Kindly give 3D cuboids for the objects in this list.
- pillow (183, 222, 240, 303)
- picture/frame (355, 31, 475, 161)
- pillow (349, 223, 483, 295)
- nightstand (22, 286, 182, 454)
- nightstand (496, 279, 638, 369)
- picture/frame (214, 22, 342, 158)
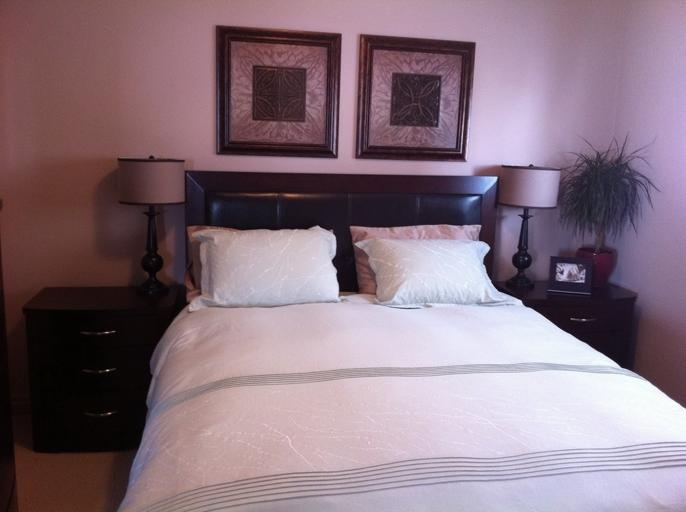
[{"bbox_3d":[-0.745,0.044,3.092,0.400,0.470,0.153,-5,-1,1],"label":"pillow"},{"bbox_3d":[0.441,-1.087,3.586,0.749,0.887,0.055,-1,10,-14],"label":"picture/frame"},{"bbox_3d":[0.428,-0.005,3.473,0.679,0.473,0.192,-8,-8,-24],"label":"pillow"},{"bbox_3d":[-1.431,0.675,3.258,0.761,0.833,0.553,0,11,-19],"label":"nightstand"},{"bbox_3d":[1.580,0.639,3.863,0.764,0.832,0.556,-1,13,-8],"label":"nightstand"},{"bbox_3d":[-0.441,-1.071,3.413,0.748,0.850,0.060,1,9,-12],"label":"picture/frame"}]
